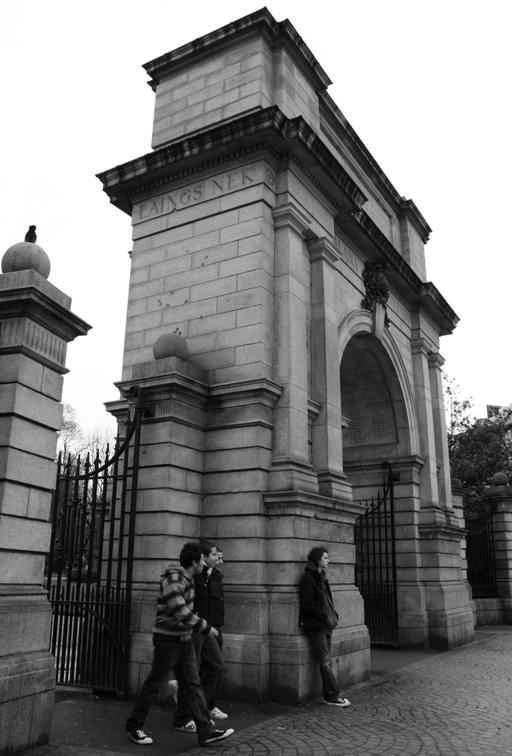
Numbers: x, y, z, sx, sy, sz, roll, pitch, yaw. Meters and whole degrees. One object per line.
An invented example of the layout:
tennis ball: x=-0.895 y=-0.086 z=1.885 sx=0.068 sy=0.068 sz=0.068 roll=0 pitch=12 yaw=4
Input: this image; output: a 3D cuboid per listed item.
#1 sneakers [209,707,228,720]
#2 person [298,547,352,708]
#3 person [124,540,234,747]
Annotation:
sneakers: x=-0.411 y=3.646 z=6.497 sx=0.243 sy=0.118 sz=0.107 roll=7 pitch=-13 yaw=-1
person: x=0.843 y=3.160 z=7.727 sx=0.541 sy=1.867 sz=0.699 roll=1 pitch=-16 yaw=-9
person: x=-0.663 y=2.369 z=5.330 sx=0.857 sy=1.733 sz=1.047 roll=0 pitch=-16 yaw=-4
